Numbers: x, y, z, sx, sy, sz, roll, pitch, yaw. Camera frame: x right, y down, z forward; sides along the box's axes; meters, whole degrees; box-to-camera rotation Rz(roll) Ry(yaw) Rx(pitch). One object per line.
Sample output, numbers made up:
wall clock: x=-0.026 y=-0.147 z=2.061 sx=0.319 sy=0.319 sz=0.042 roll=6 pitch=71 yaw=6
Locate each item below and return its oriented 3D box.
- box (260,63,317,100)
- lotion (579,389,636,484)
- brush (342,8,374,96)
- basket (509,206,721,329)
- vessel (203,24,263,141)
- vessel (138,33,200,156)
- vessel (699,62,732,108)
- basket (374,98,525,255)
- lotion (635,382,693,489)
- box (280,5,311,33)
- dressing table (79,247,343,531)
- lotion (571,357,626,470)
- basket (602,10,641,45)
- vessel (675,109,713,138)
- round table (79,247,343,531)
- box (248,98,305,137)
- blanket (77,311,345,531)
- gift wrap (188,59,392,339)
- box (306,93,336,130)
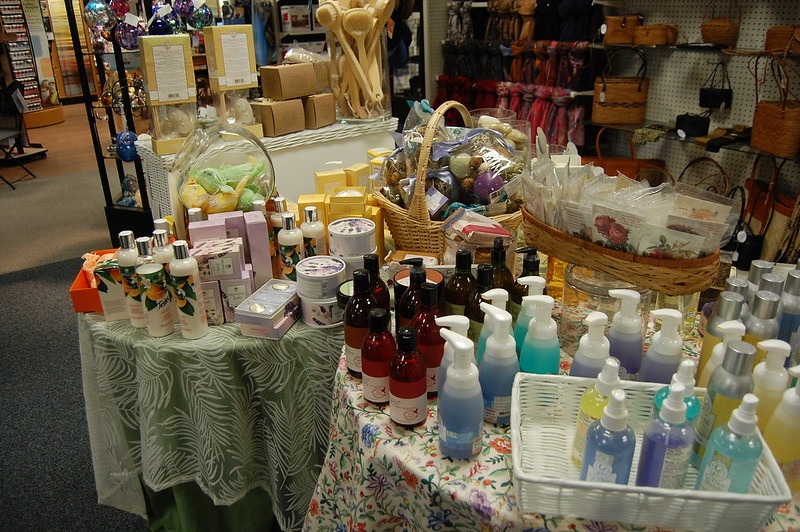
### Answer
box: x=-0.728 y=-1.205 z=3.534 sx=0.232 sy=0.209 sz=0.327 roll=12 pitch=29 yaw=31
lotion: x=0.590 y=0.502 z=1.532 sx=0.125 sy=0.346 sz=0.131 roll=15 pitch=33 yaw=31
brush: x=-0.254 y=-1.380 z=3.498 sx=0.141 sy=0.469 sz=0.036 roll=-6 pitch=59 yaw=3
basket: x=0.733 y=-0.026 z=1.872 sx=0.586 sy=0.113 sz=0.288 roll=31 pitch=28 yaw=35
vessel: x=-1.061 y=-1.158 z=3.480 sx=0.261 sy=0.683 sz=0.181 roll=-17 pitch=30 yaw=-35
vessel: x=-1.460 y=-1.086 z=3.477 sx=0.309 sy=0.727 sz=0.138 roll=-19 pitch=38 yaw=-36
vessel: x=2.225 y=-1.246 z=3.818 sx=0.192 sy=0.328 sz=0.213 roll=1 pitch=11 yaw=-7
basket: x=0.286 y=-0.462 z=2.581 sx=0.535 sy=0.670 sz=0.736 roll=11 pitch=25 yaw=34
lotion: x=0.747 y=0.493 z=1.529 sx=0.125 sy=0.375 sz=0.128 roll=22 pitch=39 yaw=40
box: x=-1.102 y=-2.626 z=5.820 sx=0.116 sy=0.276 sz=0.366 roll=17 pitch=29 yaw=39
dressing table: x=-0.820 y=0.430 z=2.496 sx=0.922 sy=0.776 sz=1.002 roll=1 pitch=13 yaw=-6
lotion: x=0.572 y=0.436 z=1.584 sx=0.092 sy=0.343 sz=0.098 roll=5 pitch=20 yaw=-7
basket: x=1.577 y=-1.683 z=3.955 sx=0.297 sy=0.285 sz=0.202 roll=13 pitch=32 yaw=26
vessel: x=2.034 y=-0.958 z=3.797 sx=0.204 sy=0.132 sz=0.201 roll=-23 pitch=33 yaw=-37
round table: x=-0.832 y=0.462 z=2.638 sx=0.922 sy=0.776 sz=1.002 roll=2 pitch=13 yaw=0
box: x=-0.768 y=-0.955 z=3.454 sx=0.259 sy=0.181 sz=0.261 roll=-23 pitch=25 yaw=-32
blanket: x=-0.721 y=0.664 z=2.383 sx=0.946 sy=0.782 sz=0.972 roll=13 pitch=16 yaw=36
gift wrap: x=-0.546 y=-0.333 z=2.606 sx=1.127 sy=1.175 sz=0.695 roll=-15 pitch=27 yaw=-27
box: x=-0.553 y=-1.037 z=3.651 sx=0.136 sy=0.203 sz=0.266 roll=8 pitch=26 yaw=25
